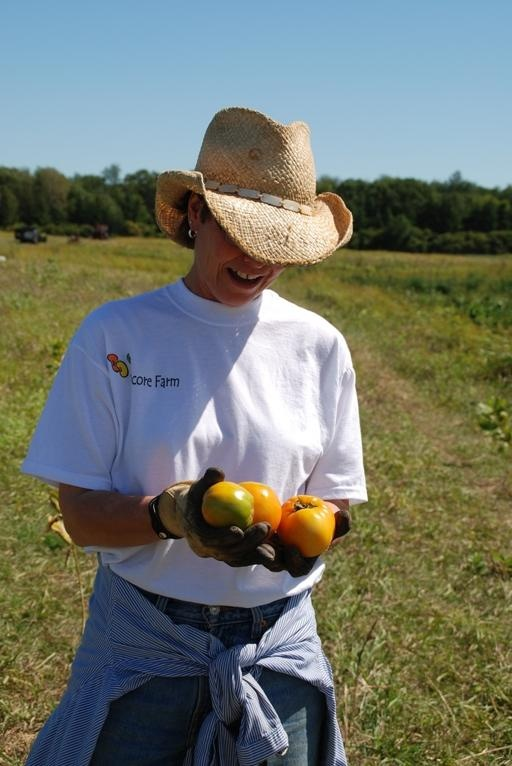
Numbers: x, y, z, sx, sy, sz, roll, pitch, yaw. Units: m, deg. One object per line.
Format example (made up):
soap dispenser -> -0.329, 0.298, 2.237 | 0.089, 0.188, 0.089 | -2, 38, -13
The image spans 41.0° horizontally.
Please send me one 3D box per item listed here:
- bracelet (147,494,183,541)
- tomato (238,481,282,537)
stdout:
bracelet -> -0.250, 0.357, 1.768 | 0.059, 0.115, 0.095 | -22, 15, 22
tomato -> 0.015, 0.338, 1.853 | 0.118, 0.112, 0.118 | -9, -4, -36
